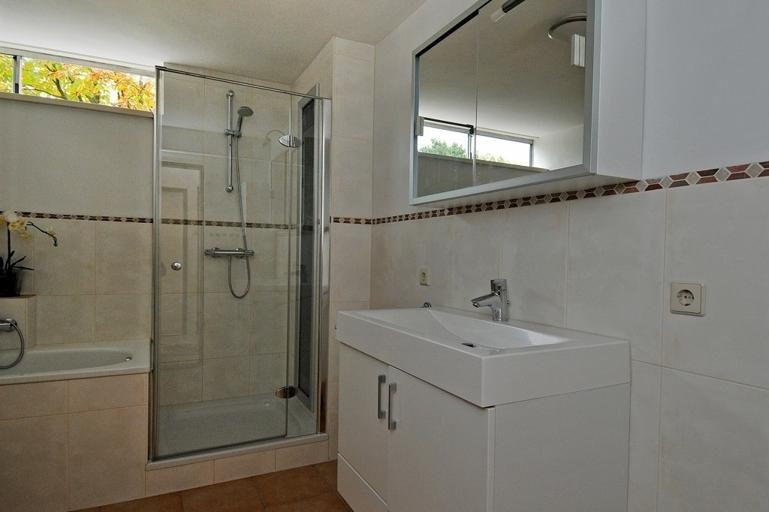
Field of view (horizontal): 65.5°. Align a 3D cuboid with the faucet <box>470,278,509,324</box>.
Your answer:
[{"bbox_3d":[0.553,0.257,3.209,0.281,0.232,0.083,-8,9,-39],"label":"faucet"}]

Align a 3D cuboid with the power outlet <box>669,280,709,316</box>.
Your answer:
[{"bbox_3d":[1.364,0.188,2.667,0.050,0.175,0.150,3,-4,-40],"label":"power outlet"}]

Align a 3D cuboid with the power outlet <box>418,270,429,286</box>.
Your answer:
[{"bbox_3d":[0.245,0.136,3.785,0.016,0.110,0.098,-2,2,-27],"label":"power outlet"}]
